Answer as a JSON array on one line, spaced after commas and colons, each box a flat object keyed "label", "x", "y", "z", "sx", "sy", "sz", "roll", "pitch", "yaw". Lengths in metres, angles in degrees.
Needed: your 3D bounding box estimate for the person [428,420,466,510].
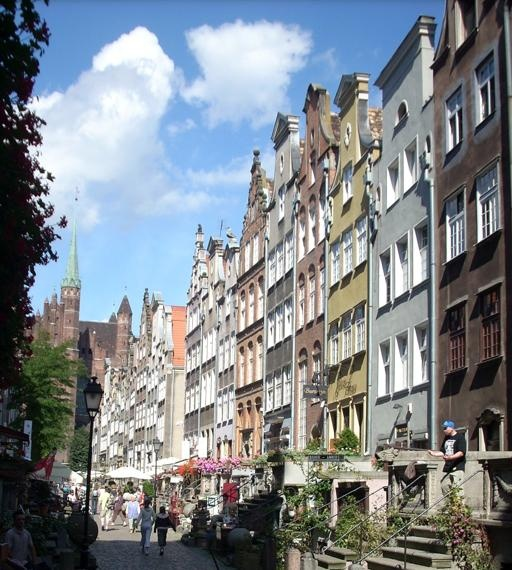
[{"label": "person", "x": 2.874, "y": 2.597, "z": 11.804, "sx": 0.480, "sy": 1.400, "sz": 1.635, "roll": -3, "pitch": -21, "yaw": 13}]
